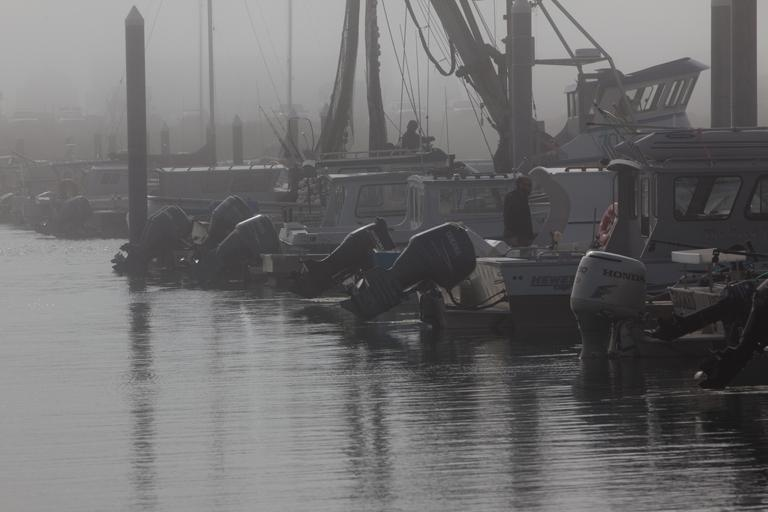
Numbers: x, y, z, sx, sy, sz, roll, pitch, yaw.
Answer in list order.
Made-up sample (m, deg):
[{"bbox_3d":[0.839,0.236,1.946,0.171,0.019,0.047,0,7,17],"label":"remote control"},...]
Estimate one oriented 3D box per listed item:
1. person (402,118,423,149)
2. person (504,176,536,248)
[{"bbox_3d":[0.749,-3.114,42.196,0.472,0.775,0.778,1,4,-11],"label":"person"},{"bbox_3d":[2.514,-0.794,30.080,0.588,1.312,0.637,2,4,5],"label":"person"}]
